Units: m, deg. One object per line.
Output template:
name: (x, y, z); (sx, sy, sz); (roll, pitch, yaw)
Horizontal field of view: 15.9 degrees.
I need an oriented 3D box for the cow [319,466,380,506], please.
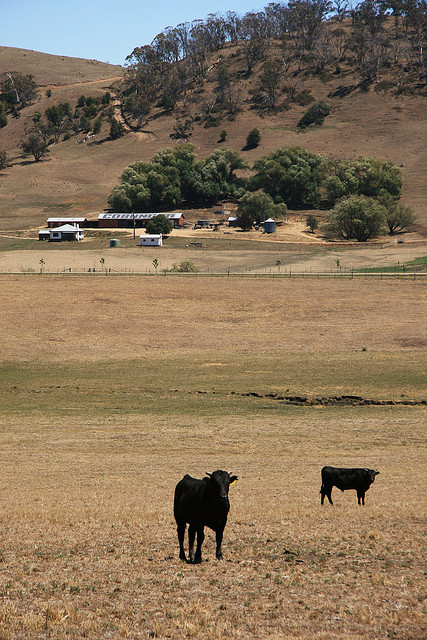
cow: (18.547, 23.193, 212.388); (9.220, 7.607, 3.919); (0, -4, -1)
